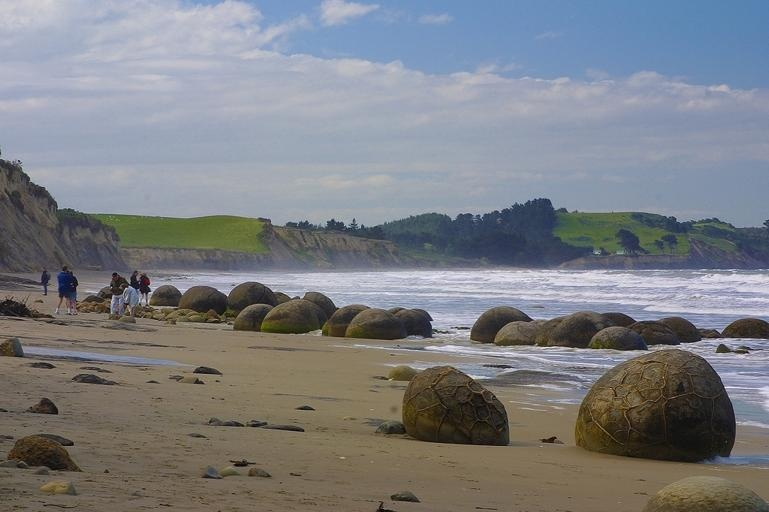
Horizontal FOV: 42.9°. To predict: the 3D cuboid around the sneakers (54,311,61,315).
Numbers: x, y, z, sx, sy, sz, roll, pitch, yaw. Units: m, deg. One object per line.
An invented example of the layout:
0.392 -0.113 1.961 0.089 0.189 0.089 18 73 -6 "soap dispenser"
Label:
-10.089 1.728 30.152 0.080 0.117 0.131 11 25 -18 "sneakers"
